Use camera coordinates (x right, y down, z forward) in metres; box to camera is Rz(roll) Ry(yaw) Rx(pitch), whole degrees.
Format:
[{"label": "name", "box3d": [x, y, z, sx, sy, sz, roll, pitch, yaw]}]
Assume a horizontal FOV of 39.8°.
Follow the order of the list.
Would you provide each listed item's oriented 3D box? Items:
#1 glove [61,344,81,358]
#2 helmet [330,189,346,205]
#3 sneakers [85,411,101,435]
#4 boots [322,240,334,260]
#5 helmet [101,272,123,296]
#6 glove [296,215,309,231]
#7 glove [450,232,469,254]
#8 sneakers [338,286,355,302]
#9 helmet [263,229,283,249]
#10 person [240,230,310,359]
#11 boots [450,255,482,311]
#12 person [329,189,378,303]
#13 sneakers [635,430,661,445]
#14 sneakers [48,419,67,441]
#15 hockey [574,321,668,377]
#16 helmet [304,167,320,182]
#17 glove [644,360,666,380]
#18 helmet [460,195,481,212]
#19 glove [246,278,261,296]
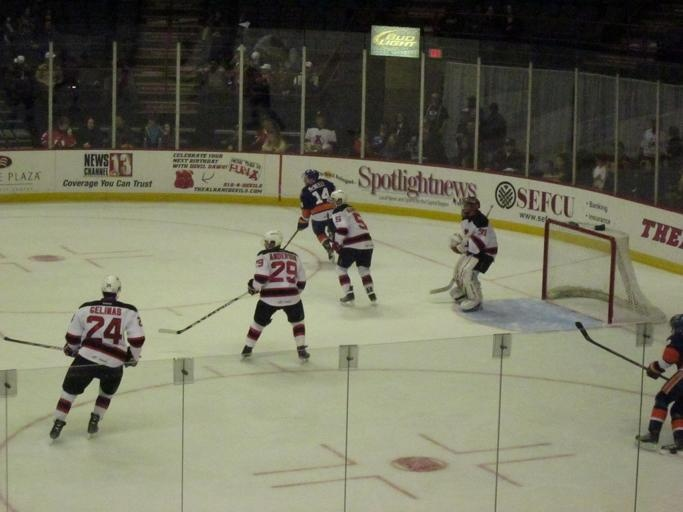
[{"label": "glove", "box3d": [-2.589, 0.898, 9.031, 0.121, 0.167, 0.065, 37, 13, -22]}, {"label": "helmet", "box3d": [-0.007, -0.852, 13.343, 0.219, 0.191, 0.177, 30, 35, 23]}, {"label": "sneakers", "box3d": [-1.949, 1.312, 7.413, 0.065, 0.174, 0.075, 1, -30, -8]}, {"label": "boots", "box3d": [-0.177, -0.131, 15.122, 0.126, 0.388, 0.172, 3, 17, 24]}, {"label": "helmet", "box3d": [-2.218, 0.284, 9.220, 0.196, 0.204, 0.225, 4, 18, -1]}, {"label": "glove", "box3d": [-0.591, -0.517, 15.116, 0.180, 0.217, 0.225, -2, -5, -1]}, {"label": "glove", "box3d": [1.640, -0.190, 13.061, 0.211, 0.138, 0.264, -1, 51, 8]}, {"label": "sneakers", "box3d": [0.098, 0.509, 13.004, 0.202, 0.250, 0.373, 0, 12, 1]}, {"label": "helmet", "box3d": [-0.769, -0.197, 10.840, 0.225, 0.198, 0.183, 9, 21, 7]}, {"label": "person", "box3d": [-0.767, 0.445, 10.657, 0.746, 1.362, 0.540, 0, 13, 5]}, {"label": "boots", "box3d": [1.731, 0.384, 12.905, 0.288, 0.579, 0.621, -3, 17, -4]}, {"label": "person", "box3d": [0.197, -0.149, 13.228, 0.618, 1.474, 1.100, -1, 13, -1]}, {"label": "sneakers", "box3d": [2.740, 1.619, 8.397, 0.259, 0.108, 0.084, 4, 0, 3]}, {"label": "sneakers", "box3d": [-2.208, 1.339, 7.372, 0.081, 0.197, 0.072, 25, -10, -16]}, {"label": "hockey", "box3d": [2.521, 0.852, 8.482, 1.165, 0.084, 0.193, 23, 43, -16]}, {"label": "helmet", "box3d": [-0.447, -1.284, 15.124, 0.226, 0.180, 0.313, 3, 13, 16]}, {"label": "glove", "box3d": [2.820, 1.042, 8.464, 0.169, 0.068, 0.165, 6, -30, 24]}, {"label": "helmet", "box3d": [1.786, -0.707, 12.844, 0.191, 0.172, 0.200, 4, 13, 20]}, {"label": "glove", "box3d": [-0.979, 0.333, 10.651, 0.192, 0.192, 0.229, 0, -17, -12]}]
